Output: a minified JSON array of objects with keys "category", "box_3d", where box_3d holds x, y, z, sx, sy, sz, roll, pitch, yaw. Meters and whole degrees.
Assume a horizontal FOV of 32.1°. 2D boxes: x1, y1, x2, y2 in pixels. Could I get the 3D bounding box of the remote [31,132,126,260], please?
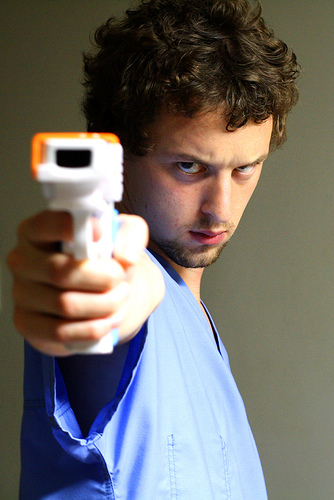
[{"category":"remote","box_3d":[-0.057,-0.033,0.380,0.054,0.086,0.070,2,10,-6]}]
